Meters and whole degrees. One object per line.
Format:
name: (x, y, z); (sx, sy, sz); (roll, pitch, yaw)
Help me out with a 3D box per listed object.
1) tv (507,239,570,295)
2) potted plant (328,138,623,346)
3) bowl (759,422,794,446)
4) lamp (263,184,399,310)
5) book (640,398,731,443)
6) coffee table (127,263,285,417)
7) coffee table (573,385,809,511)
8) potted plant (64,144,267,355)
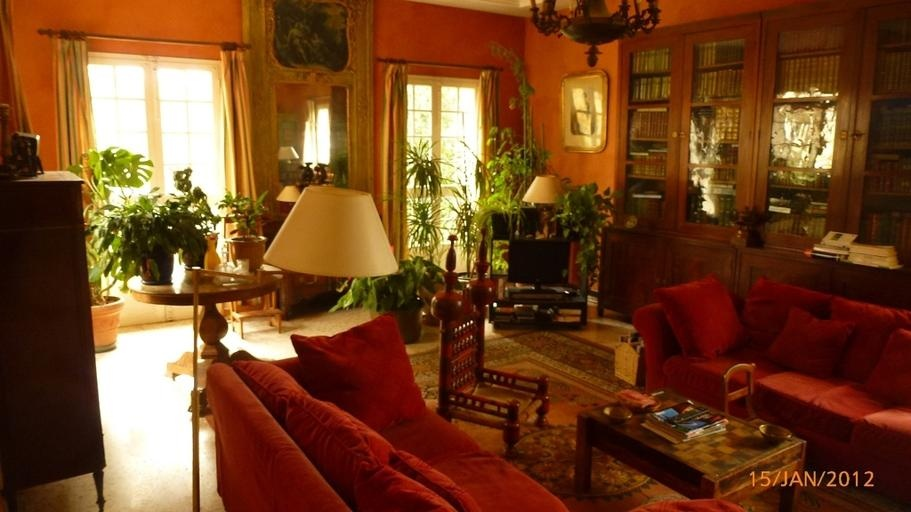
tv: (1.074, 0.169, 8.173); (0.383, 0.670, 0.822); (7, -9, -39)
potted plant: (0.303, -0.130, 7.543); (2.968, 2.576, 1.010); (0, 1, 6)
bowl: (2.469, 1.379, 4.927); (0.164, 0.060, 0.159); (-1, 10, 0)
lamp: (-0.840, -0.220, 4.437); (1.057, 0.519, 0.992); (6, 8, -3)
book: (1.853, 1.328, 5.033); (0.434, 0.093, 0.312); (-9, 15, -30)
coffee table: (-2.475, 0.792, 6.383); (1.336, 1.087, 1.271); (-2, 13, -24)
coffee table: (1.929, 1.544, 4.944); (1.095, 0.600, 1.197); (-2, 9, -29)
potted plant: (-3.223, -0.148, 6.900); (1.998, 1.534, 2.329); (-2, 3, -32)
